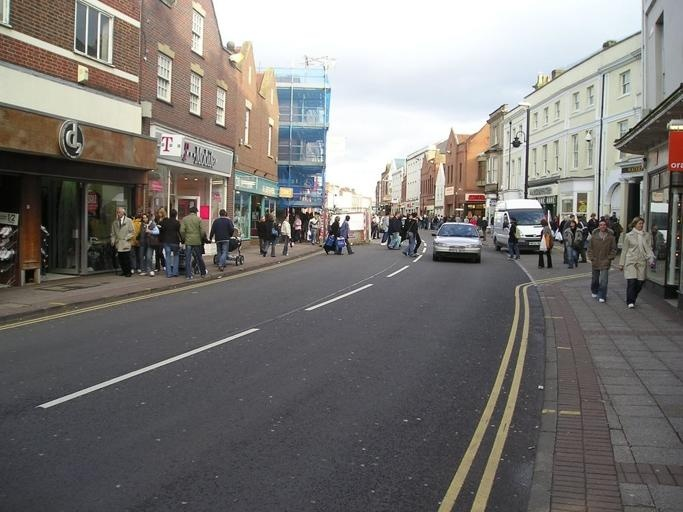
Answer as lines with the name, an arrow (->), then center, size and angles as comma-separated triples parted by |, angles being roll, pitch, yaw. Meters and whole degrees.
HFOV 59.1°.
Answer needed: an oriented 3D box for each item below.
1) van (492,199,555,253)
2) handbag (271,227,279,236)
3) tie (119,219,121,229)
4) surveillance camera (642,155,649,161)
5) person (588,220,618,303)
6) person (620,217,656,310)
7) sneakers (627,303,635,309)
van -> 9.542, -1.760, 32.760 | 1.786, 2.410, 4.175 | 0, 0, 1
handbag -> -2.949, -1.062, 26.697 | 0.264, 0.322, 0.112 | 6, 1, -40
tie -> -6.675, -0.970, 18.134 | 0.062, 0.294, 0.064 | 4, -26, 4
surveillance camera -> 8.986, -2.893, 17.810 | 0.031, 0.145, 0.131 | 8, -5, -32
person -> 6.458, 0.077, 14.973 | 0.633, 1.983, 1.266 | 0, 4, 25
person -> 6.813, 0.134, 13.904 | 0.679, 2.051, 0.698 | 1, 4, 30
sneakers -> 6.648, 1.134, 13.832 | 0.068, 0.103, 0.214 | 0, 11, 16
